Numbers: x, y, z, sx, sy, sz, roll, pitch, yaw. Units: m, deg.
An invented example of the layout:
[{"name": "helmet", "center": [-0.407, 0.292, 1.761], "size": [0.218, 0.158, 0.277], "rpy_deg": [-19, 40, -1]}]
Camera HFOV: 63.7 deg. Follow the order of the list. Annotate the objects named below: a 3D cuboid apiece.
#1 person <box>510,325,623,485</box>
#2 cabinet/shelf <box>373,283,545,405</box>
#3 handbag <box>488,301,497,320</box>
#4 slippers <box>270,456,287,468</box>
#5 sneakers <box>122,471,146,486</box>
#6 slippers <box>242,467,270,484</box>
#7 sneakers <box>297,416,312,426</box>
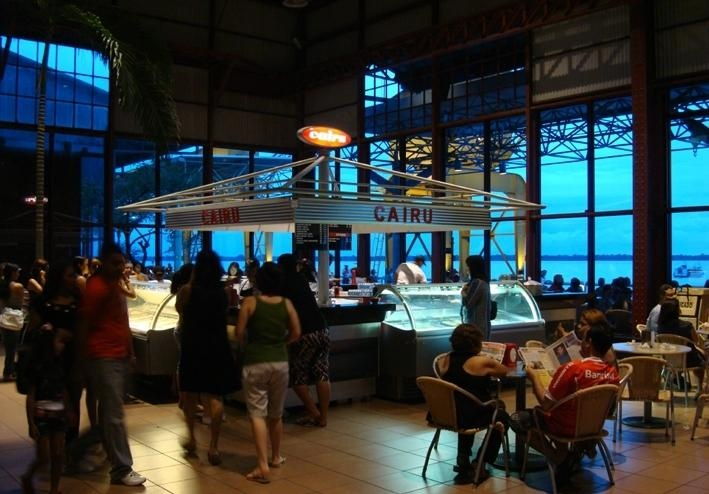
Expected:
[{"name": "person", "center": [2.182, 1.619, 5.849], "size": [1.019, 1.608, 0.521], "rpy_deg": [0, 4, -5]}, {"name": "cabinet/shelf", "center": [1.851, 1.328, 8.638], "size": [2.603, 1.466, 1.143], "rpy_deg": [-6, -13, 18]}, {"name": "handbag", "center": [2.035, 0.921, 8.361], "size": [0.202, 0.250, 0.264], "rpy_deg": [0, 4, 1]}, {"name": "slippers", "center": [-0.819, 2.304, 6.164], "size": [0.076, 0.053, 0.156], "rpy_deg": [2, 3, 24]}, {"name": "sneakers", "center": [-2.233, 2.313, 5.741], "size": [0.271, 0.109, 0.104], "rpy_deg": [-9, -8, 31]}, {"name": "slippers", "center": [-0.967, 2.331, 5.837], "size": [0.114, 0.081, 0.217], "rpy_deg": [4, 1, -43]}, {"name": "sneakers", "center": [-0.643, 2.228, 7.370], "size": [0.098, 0.061, 0.173], "rpy_deg": [4, -10, -24]}]
